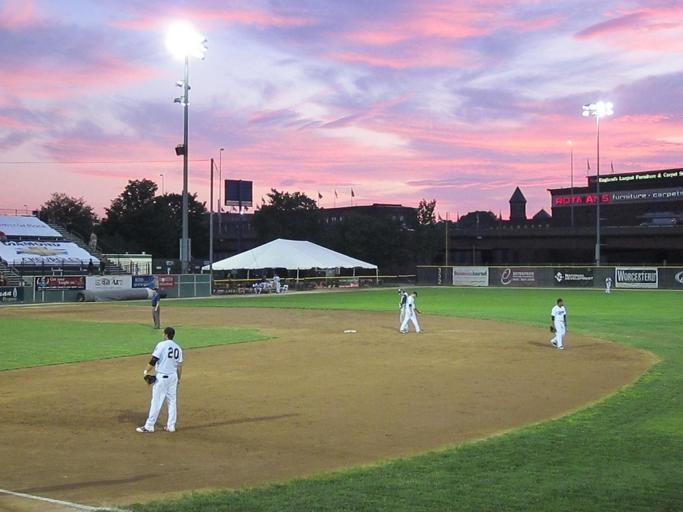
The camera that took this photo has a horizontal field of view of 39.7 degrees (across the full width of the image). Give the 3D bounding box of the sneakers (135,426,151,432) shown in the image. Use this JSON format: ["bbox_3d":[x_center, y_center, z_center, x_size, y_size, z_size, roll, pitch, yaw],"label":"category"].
[{"bbox_3d":[-5.173,4.583,24.767,0.431,0.157,0.158,7,1,3],"label":"sneakers"}]

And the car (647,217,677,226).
[{"bbox_3d":[39.758,-4.161,116.843,3.450,1.440,6.725,-2,-3,17],"label":"car"}]

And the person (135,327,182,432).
[{"bbox_3d":[-4.748,3.283,24.999,1.025,2.734,1.465,-1,-2,-10],"label":"person"}]

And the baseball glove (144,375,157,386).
[{"bbox_3d":[-4.977,3.243,24.552,0.274,0.288,0.370,-4,-7,33],"label":"baseball glove"}]
